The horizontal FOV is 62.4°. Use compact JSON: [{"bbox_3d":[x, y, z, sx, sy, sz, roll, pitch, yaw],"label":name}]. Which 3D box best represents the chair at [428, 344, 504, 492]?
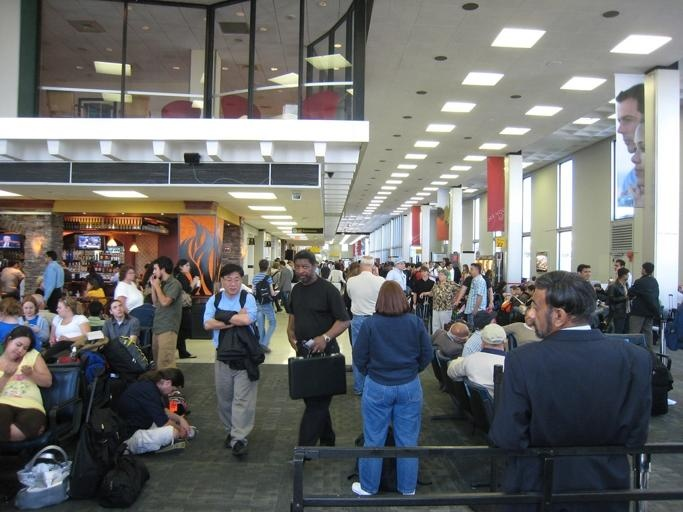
[{"bbox_3d":[1.254,1.636,5.653,0.685,0.714,1.518,-1,0,-4],"label":"chair"}]

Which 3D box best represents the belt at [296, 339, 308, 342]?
[{"bbox_3d":[-0.408,0.889,5.879,0.023,0.029,0.082,13,-8,-41],"label":"belt"}]

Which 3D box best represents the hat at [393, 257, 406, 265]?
[{"bbox_3d":[1.708,0.170,17.038,0.308,0.275,0.229,-15,-2,33],"label":"hat"}]

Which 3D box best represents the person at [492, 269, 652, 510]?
[{"bbox_3d":[1.487,0.891,3.670,0.999,1.545,0.393,2,7,12],"label":"person"}]

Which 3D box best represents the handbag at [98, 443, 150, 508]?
[{"bbox_3d":[-1.999,2.075,5.389,0.391,0.485,0.704,1,-3,2],"label":"handbag"}]

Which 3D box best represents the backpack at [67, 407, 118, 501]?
[{"bbox_3d":[-2.333,1.890,5.313,0.326,0.615,0.499,12,-33,-10],"label":"backpack"}]

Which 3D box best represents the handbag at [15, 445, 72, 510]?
[{"bbox_3d":[-2.799,1.999,5.287,0.473,0.535,0.492,-3,8,-30],"label":"handbag"}]

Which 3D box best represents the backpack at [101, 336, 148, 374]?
[{"bbox_3d":[-2.504,1.149,6.445,0.369,0.250,0.196,41,12,4],"label":"backpack"}]
